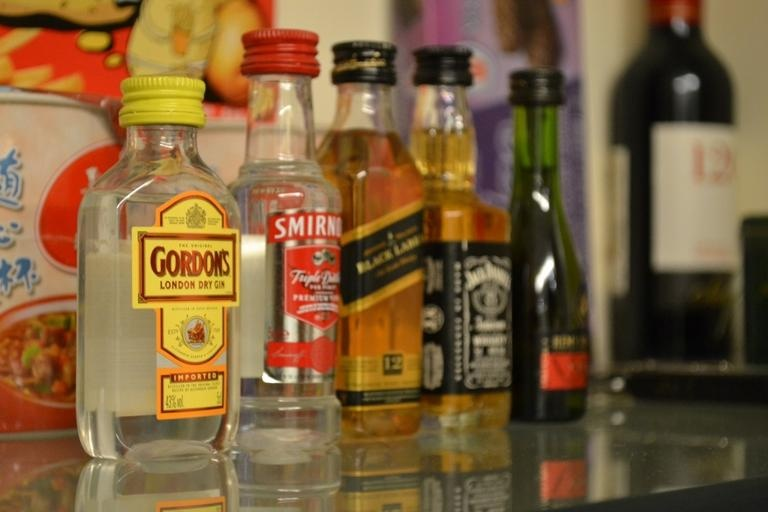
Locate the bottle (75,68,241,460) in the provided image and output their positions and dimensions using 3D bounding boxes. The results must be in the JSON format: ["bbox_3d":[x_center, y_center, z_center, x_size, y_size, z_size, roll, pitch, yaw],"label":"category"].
[{"bbox_3d":[-0.247,0.011,0.998,0.175,0.415,0.109,1,5,-18],"label":"bottle"}]
